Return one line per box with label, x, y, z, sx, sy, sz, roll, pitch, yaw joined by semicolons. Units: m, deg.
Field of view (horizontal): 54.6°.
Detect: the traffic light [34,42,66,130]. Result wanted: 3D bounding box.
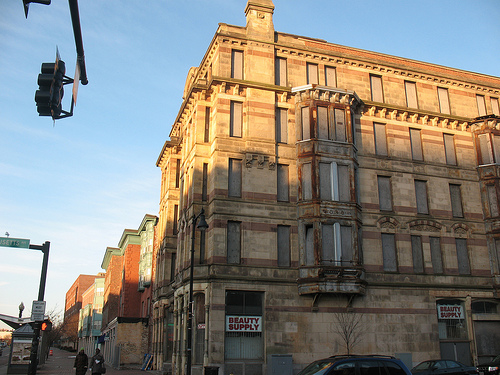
traffic light;-6.408;-3.344;15.675;0.808;2.146;1.158;11;-24;-25
